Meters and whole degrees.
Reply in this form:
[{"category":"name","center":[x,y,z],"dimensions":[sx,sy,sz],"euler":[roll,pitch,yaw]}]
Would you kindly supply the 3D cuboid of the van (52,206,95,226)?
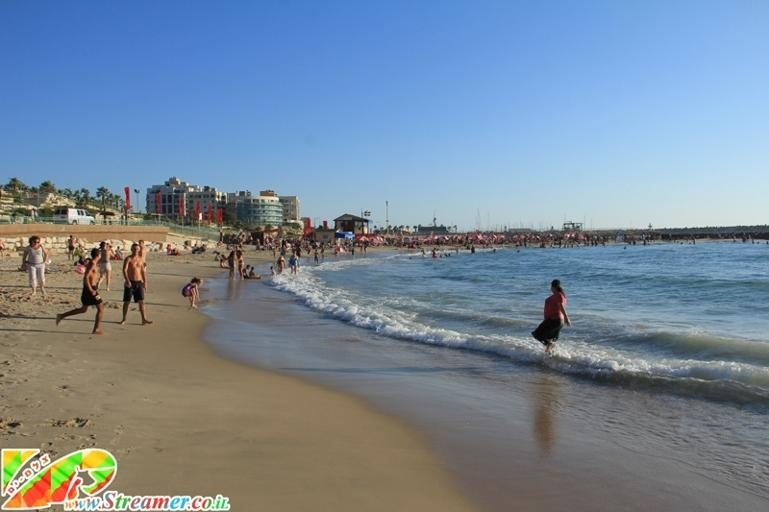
[{"category":"van","center":[-24.073,-3.068,44.246],"dimensions":[1.753,1.279,2.861],"euler":[4,11,14]}]
